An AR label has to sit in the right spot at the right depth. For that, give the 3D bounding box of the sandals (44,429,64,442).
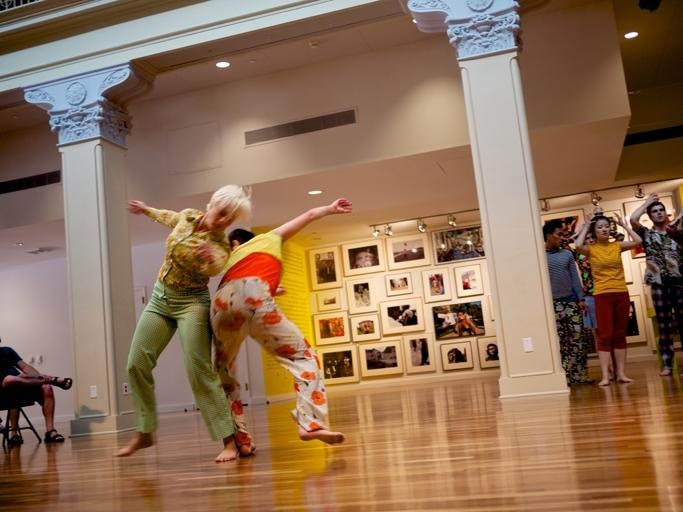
[{"bbox_3d":[-2.784,1.737,5.432,0.117,0.097,0.264,8,-13,-42],"label":"sandals"}]

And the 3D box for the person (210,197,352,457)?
[{"bbox_3d":[-0.358,0.395,3.113,0.711,1.351,0.727,-3,-14,-13],"label":"person"}]

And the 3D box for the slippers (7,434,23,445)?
[{"bbox_3d":[-3.207,1.816,5.521,0.111,0.038,0.111,-2,-7,32],"label":"slippers"}]

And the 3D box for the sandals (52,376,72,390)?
[{"bbox_3d":[-2.851,1.288,5.681,0.168,0.107,0.305,3,-15,-34],"label":"sandals"}]
